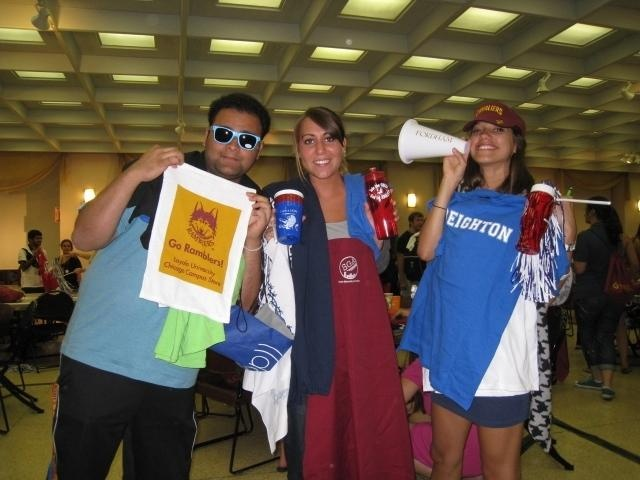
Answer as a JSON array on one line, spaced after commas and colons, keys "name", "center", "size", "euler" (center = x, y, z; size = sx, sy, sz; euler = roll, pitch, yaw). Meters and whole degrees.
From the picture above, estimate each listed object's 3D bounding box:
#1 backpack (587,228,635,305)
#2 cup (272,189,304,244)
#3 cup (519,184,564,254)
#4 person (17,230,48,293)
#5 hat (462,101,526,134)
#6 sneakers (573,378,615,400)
[{"name": "backpack", "center": [3.285, 0.308, 5.615], "size": [0.511, 0.997, 0.392], "euler": [22, -29, -10]}, {"name": "cup", "center": [-0.167, -0.131, 2.713], "size": [0.182, 0.251, 0.190], "euler": [-1, -7, 0]}, {"name": "cup", "center": [1.106, -0.109, 2.501], "size": [0.194, 0.360, 0.133], "euler": [2, -3, 13]}, {"name": "person", "center": [-5.106, 0.566, 8.782], "size": [0.328, 1.456, 0.426], "euler": [17, 20, 26]}, {"name": "hat", "center": [1.001, -0.727, 2.835], "size": [0.238, 0.159, 0.318], "euler": [12, 12, 38]}, {"name": "sneakers", "center": [3.009, 1.587, 5.331], "size": [0.104, 0.121, 0.308], "euler": [6, 2, -30]}]
